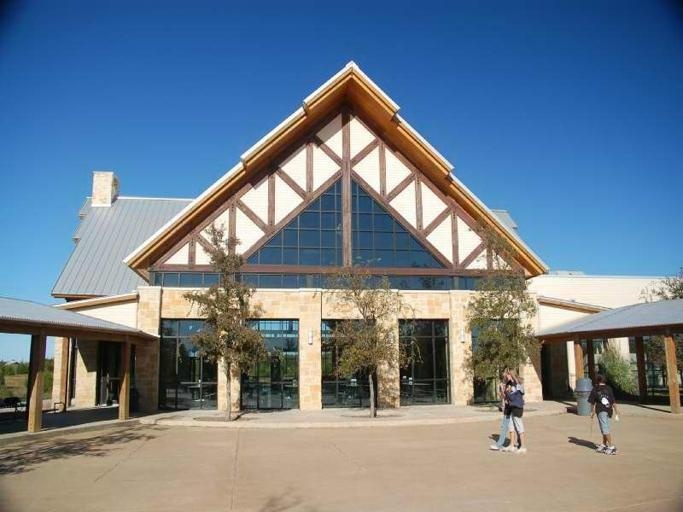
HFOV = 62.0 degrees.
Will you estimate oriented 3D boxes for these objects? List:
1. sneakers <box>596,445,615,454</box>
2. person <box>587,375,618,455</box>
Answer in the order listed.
[{"bbox_3d":[7.967,5.827,17.123,0.459,0.242,0.190,-4,-5,35],"label":"sneakers"},{"bbox_3d":[8.068,4.832,17.504,0.680,2.343,1.003,-8,-15,25],"label":"person"}]
